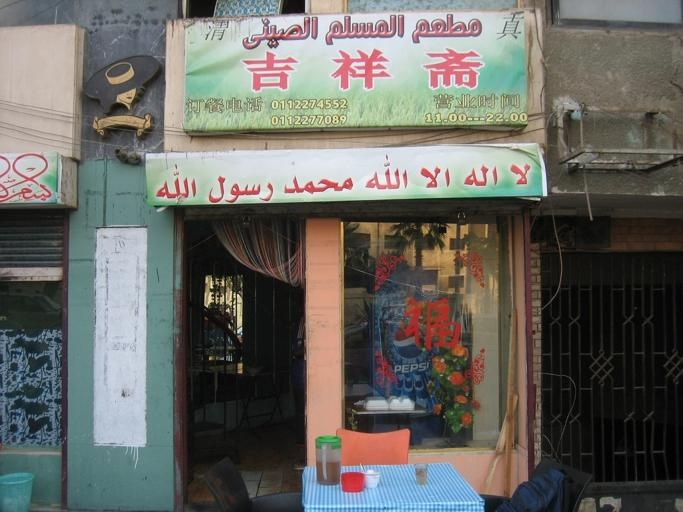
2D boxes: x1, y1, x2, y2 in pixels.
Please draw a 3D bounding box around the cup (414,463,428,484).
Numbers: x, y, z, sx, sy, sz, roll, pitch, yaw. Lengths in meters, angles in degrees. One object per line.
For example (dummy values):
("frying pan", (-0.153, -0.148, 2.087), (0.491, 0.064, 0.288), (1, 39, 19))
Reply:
("cup", (0.903, 2.472, 11.261), (0.144, 0.188, 0.149), (-2, -7, 0))
